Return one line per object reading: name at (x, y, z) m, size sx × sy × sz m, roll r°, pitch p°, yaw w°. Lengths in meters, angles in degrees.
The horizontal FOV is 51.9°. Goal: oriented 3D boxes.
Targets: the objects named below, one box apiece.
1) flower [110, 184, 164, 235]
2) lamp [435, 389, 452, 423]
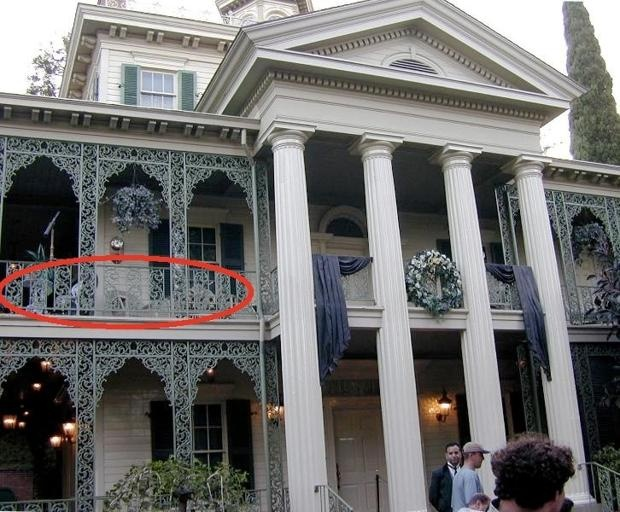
flower at (-3.376, -0.981, 12.450) m, size 0.872 × 0.990 × 0.425 m, roll 6°, pitch -18°, yaw -18°
lamp at (3.625, 4.010, 16.941) m, size 0.351 × 0.831 × 0.476 m, roll -10°, pitch -20°, yaw 31°
